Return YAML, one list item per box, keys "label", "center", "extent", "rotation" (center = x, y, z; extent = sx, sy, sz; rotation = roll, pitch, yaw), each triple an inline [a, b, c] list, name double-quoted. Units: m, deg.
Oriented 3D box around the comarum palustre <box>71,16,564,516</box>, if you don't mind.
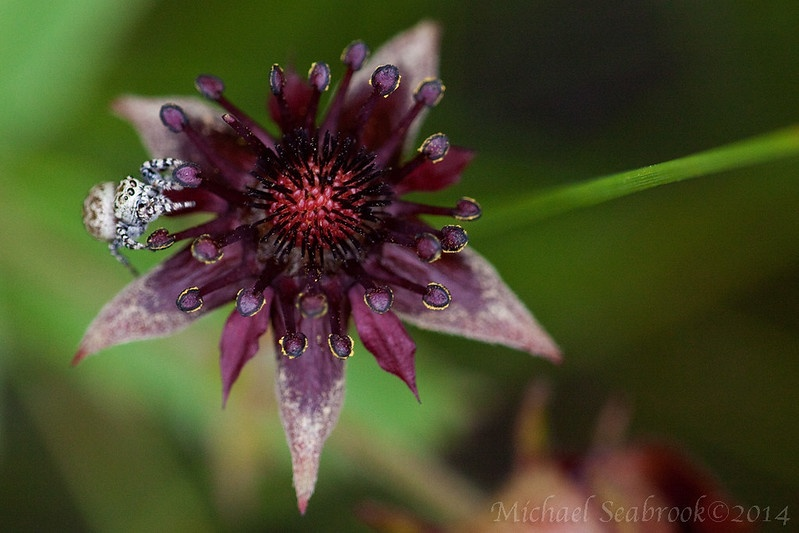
- label: "comarum palustre"
  center: [-0.226, -0.039, 1.525]
  extent: [0.879, 0.469, 0.781]
  rotation: [-16, 48, -9]
